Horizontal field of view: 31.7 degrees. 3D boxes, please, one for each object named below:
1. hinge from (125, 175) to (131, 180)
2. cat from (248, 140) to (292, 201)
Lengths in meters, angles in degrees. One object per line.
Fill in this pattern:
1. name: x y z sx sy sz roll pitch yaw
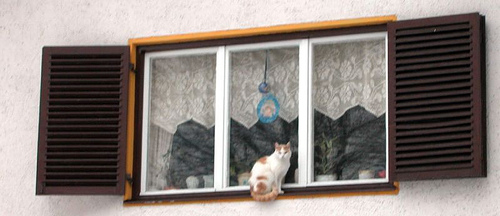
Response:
1. hinge: -1.786 1.015 12.805 0.074 0.052 0.063 -1 -4 1
2. cat: 0.304 0.893 12.560 0.742 0.777 0.565 1 11 37
